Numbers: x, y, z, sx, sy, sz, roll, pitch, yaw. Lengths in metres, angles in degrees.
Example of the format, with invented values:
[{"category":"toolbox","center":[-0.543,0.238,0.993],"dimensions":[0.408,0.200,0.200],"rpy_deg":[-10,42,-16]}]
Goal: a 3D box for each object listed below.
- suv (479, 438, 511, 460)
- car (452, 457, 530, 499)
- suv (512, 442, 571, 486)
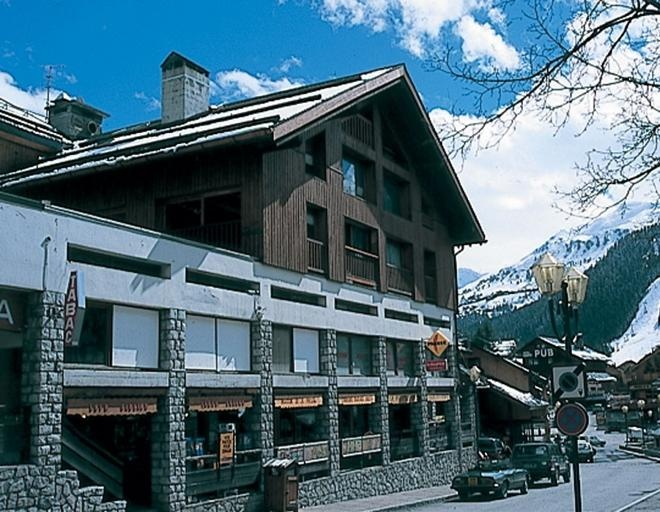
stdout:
[{"category":"suv","center":[8.606,10.041,43.410],"dimensions":[1.206,1.066,2.852],"rpy_deg":[-5,-13,21]},{"category":"car","center":[7.158,9.596,35.206],"dimensions":[4.618,1.560,1.596],"rpy_deg":[10,-23,-39]},{"category":"suv","center":[10.292,9.955,39.982],"dimensions":[1.766,1.748,3.470],"rpy_deg":[-6,-12,26]}]
